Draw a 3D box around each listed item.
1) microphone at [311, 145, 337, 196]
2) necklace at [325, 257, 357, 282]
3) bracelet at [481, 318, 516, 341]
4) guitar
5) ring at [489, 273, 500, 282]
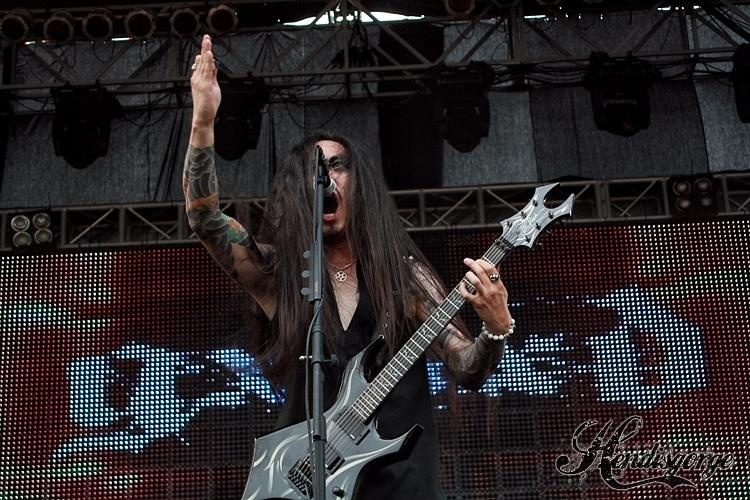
[{"bbox_3d":[-0.299,-0.456,6.257,0.098,0.104,0.301,-1,-47,8],"label":"microphone"},{"bbox_3d":[-0.200,0.104,6.471,0.089,0.136,0.033,24,-36,4],"label":"necklace"},{"bbox_3d":[0.686,0.494,6.257,0.149,0.138,0.038,39,-18,43],"label":"bracelet"},{"bbox_3d":[0.229,0.692,7.002,0.951,2.595,0.386,35,-9,16],"label":"guitar"},{"bbox_3d":[0.677,0.150,6.189,0.040,0.052,0.018,2,-29,5],"label":"ring"}]
